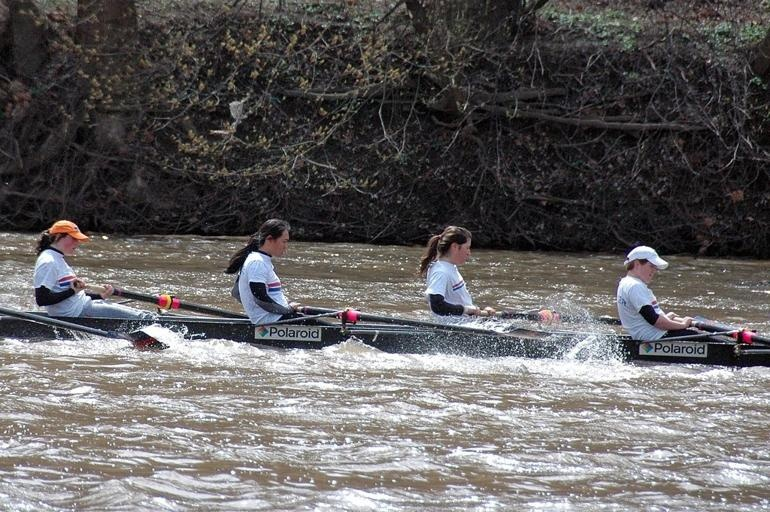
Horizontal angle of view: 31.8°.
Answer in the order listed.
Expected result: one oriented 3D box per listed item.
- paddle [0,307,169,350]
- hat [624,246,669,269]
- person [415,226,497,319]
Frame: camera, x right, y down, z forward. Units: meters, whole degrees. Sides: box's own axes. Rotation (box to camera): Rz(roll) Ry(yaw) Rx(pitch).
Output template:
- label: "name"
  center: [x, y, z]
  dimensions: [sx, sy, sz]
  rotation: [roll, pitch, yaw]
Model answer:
- label: "paddle"
  center: [-5.185, 1.255, 23.085]
  dimensions: [1.920, 0.231, 0.369]
  rotation: [9, 41, 12]
- label: "hat"
  center: [4.345, 0.013, 22.678]
  dimensions: [0.686, 0.340, 0.415]
  rotation: [3, 6, 7]
- label: "person"
  center: [1.125, 0.287, 23.143]
  dimensions: [1.072, 1.557, 0.738]
  rotation: [2, 12, 0]
